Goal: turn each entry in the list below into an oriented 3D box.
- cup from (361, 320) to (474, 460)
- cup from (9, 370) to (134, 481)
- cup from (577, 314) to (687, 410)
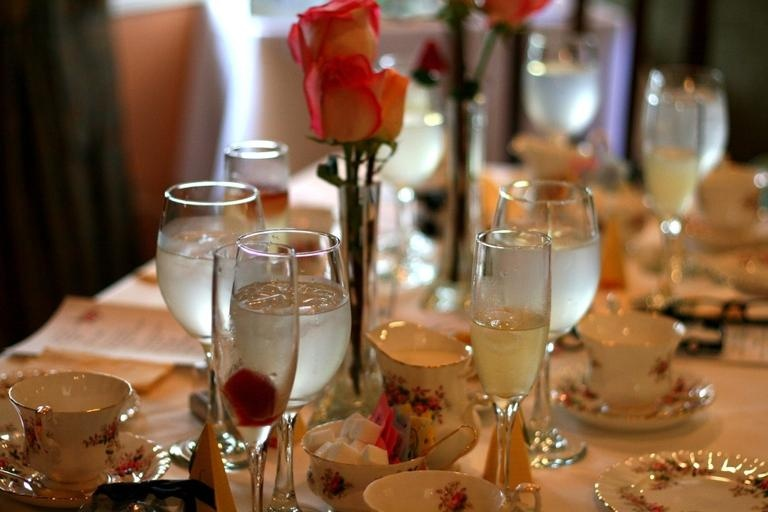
[{"bbox_3d":[0.062,0.181,0.983,0.194,0.196,0.135,11,14,30],"label":"cup"},{"bbox_3d":[-0.454,0.219,0.962,0.171,0.132,0.152,3,10,-10],"label":"cup"},{"bbox_3d":[0.423,0.179,1.155,0.168,0.129,0.179,-2,12,0],"label":"cup"}]
